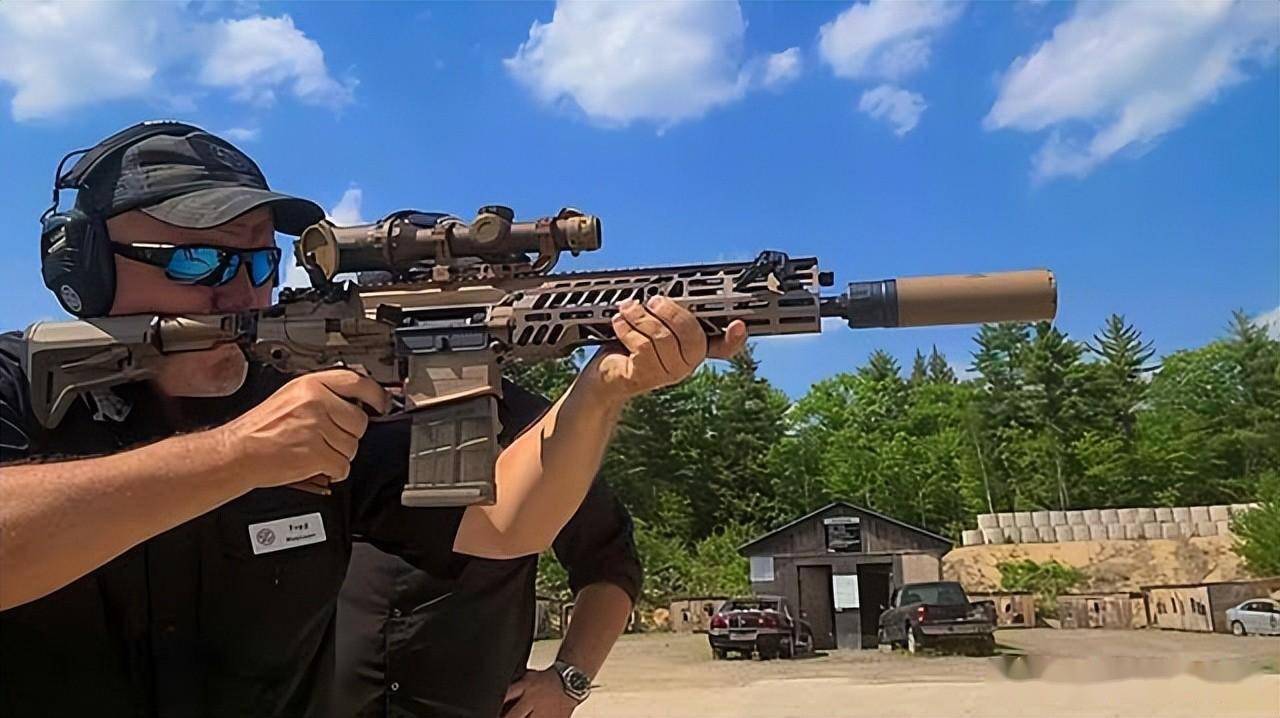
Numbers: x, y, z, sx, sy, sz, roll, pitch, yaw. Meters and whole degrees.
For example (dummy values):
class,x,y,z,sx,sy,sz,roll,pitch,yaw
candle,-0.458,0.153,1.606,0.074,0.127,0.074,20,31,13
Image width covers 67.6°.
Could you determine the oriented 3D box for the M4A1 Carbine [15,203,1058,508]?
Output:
class,x,y,z,sx,sy,sz,roll,pitch,yaw
M4A1 Carbine,-0.137,-0.289,9.911,8.056,3.729,3.569,2,0,13
